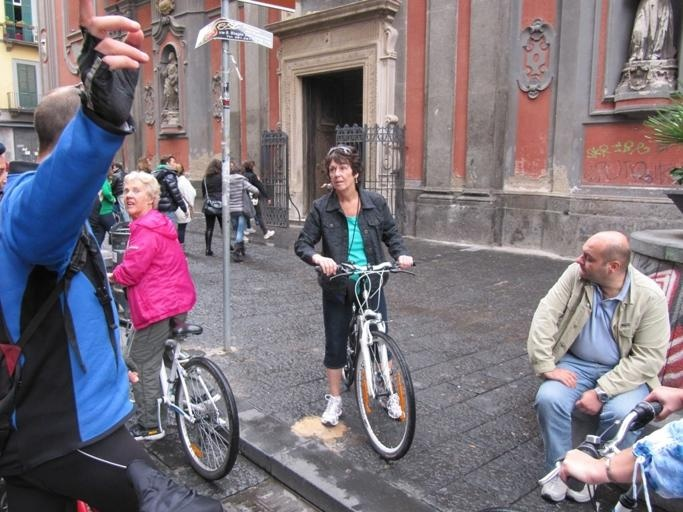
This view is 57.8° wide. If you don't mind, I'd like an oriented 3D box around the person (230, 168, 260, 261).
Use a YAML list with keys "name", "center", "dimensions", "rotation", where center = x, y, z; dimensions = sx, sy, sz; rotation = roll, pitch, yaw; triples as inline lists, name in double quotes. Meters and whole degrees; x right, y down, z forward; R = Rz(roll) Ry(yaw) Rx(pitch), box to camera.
- name: "person"
  center: [-1.829, -0.877, 11.400]
  dimensions: [0.478, 1.703, 2.379]
  rotation: [-2, 12, -10]

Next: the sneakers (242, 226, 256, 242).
- name: "sneakers"
  center: [-2.045, -0.491, 13.472]
  dimensions: [0.529, 0.264, 0.184]
  rotation: [-3, 2, 36]

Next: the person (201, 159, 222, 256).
- name: "person"
  center: [-2.342, -0.872, 11.128]
  dimensions: [0.316, 1.728, 0.926]
  rotation: [-2, 12, -13]

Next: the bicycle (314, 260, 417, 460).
- name: "bicycle"
  center: [0.236, 0.674, 4.311]
  dimensions: [0.429, 1.221, 1.116]
  rotation: [-6, 13, -27]

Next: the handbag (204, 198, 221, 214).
- name: "handbag"
  center: [-2.261, -0.851, 10.790]
  dimensions: [0.371, 0.409, 0.216]
  rotation: [0, -3, -16]

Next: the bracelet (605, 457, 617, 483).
- name: "bracelet"
  center: [1.058, 0.843, 2.448]
  dimensions: [0.037, 0.076, 0.069]
  rotation: [1, -8, 13]

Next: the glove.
- name: "glove"
  center: [-0.790, -0.598, 2.158]
  dimensions: [0.233, 0.338, 0.092]
  rotation: [13, 7, 34]

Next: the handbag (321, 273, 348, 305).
- name: "handbag"
  center: [-0.063, 0.245, 4.528]
  dimensions: [0.194, 0.165, 0.170]
  rotation: [-3, 7, -19]

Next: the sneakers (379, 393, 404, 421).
- name: "sneakers"
  center: [0.331, 0.984, 4.084]
  dimensions: [0.042, 0.178, 0.129]
  rotation: [0, -35, -45]

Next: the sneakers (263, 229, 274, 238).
- name: "sneakers"
  center: [-1.580, -0.477, 13.336]
  dimensions: [0.090, 0.111, 0.254]
  rotation: [7, 23, 33]

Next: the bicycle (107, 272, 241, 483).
- name: "bicycle"
  center: [-1.245, 0.990, 4.167]
  dimensions: [0.555, 0.801, 1.248]
  rotation: [-6, 16, -31]

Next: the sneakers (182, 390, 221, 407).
- name: "sneakers"
  center: [-0.902, 0.932, 4.035]
  dimensions: [0.153, 0.068, 0.163]
  rotation: [-6, 4, -6]
